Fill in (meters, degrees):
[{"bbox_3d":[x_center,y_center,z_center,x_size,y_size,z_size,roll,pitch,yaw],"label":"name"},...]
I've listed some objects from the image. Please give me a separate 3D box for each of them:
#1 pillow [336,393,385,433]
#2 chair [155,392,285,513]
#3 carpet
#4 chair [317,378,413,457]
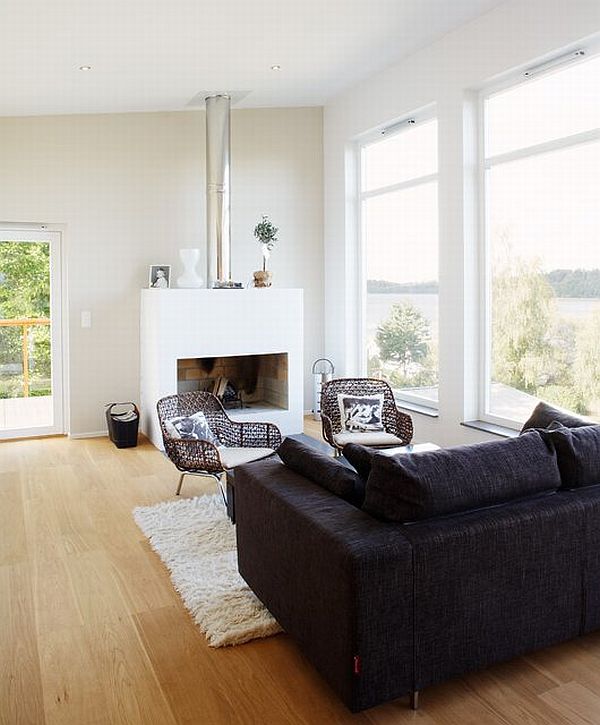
[{"bbox_3d":[0.446,0.385,4.601,0.280,0.236,0.105,1,-30,1],"label":"pillow"},{"bbox_3d":[-0.575,0.518,4.143,0.691,0.537,0.731,5,7,37],"label":"chair"},{"bbox_3d":[-0.518,0.980,3.252,0.411,1.238,0.056,-16,43,-3],"label":"carpet"},{"bbox_3d":[0.486,0.492,4.577,0.620,0.727,0.555,-1,-1,5],"label":"chair"}]
